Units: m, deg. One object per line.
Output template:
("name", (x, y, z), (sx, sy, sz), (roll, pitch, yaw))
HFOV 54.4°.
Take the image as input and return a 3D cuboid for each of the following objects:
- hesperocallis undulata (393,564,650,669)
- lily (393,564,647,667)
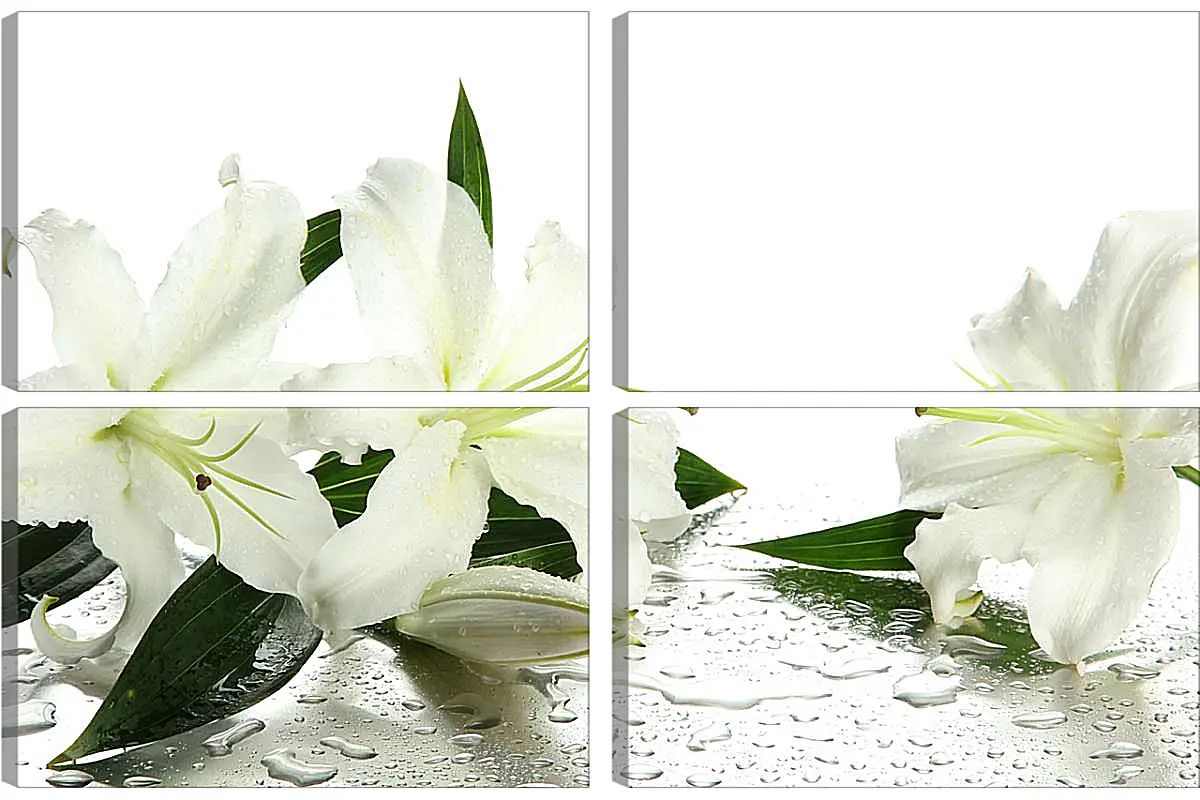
("hesperocallis undulata", (-0.066, 0.177, 0.992), (0.223, 0.065, 0.074), (2, 31, 14))
("lily", (-0.069, 0.176, 0.989), (0.227, 0.065, 0.074), (2, 27, 14))
